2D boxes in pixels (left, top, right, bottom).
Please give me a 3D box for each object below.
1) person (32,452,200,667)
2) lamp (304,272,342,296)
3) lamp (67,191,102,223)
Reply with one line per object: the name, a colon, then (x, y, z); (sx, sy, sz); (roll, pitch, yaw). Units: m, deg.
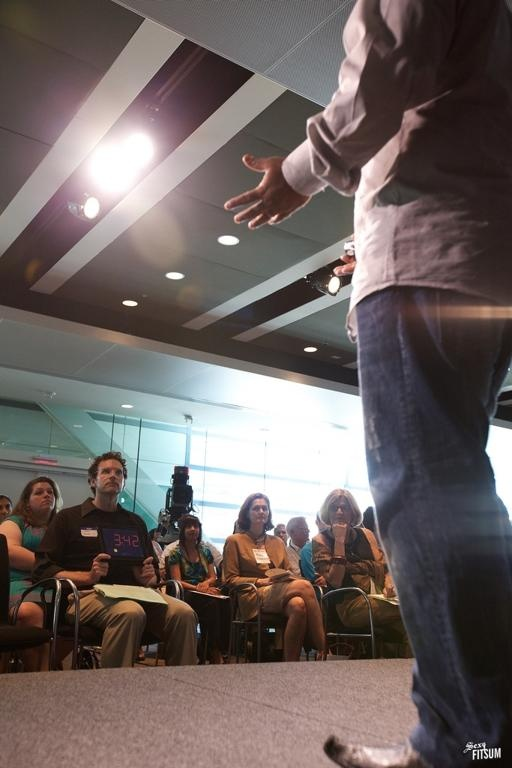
person: (-0.743, 1.060, 2.981); (0.664, 1.434, 0.772); (12, -34, -38)
lamp: (0.631, -0.945, 5.276); (0.308, 0.174, 0.187); (8, -5, 45)
lamp: (-1.288, -1.323, 4.110); (0.197, 0.186, 0.175); (5, 5, 19)
